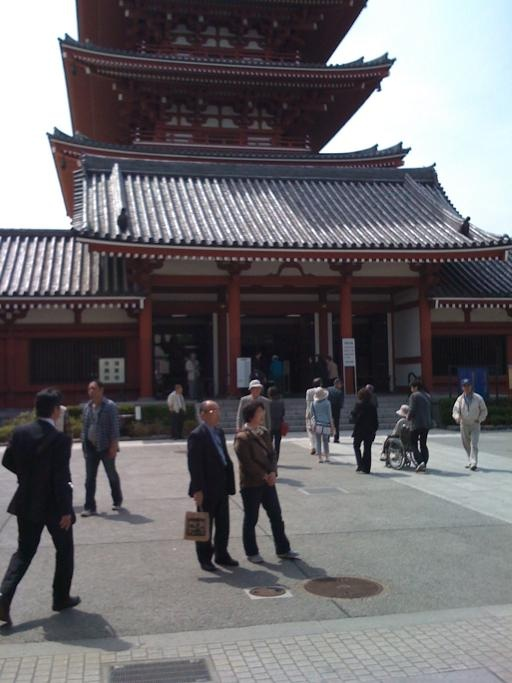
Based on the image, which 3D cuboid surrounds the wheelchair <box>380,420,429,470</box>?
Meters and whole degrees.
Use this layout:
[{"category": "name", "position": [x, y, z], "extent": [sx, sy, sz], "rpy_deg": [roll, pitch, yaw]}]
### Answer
[{"category": "wheelchair", "position": [2.630, 1.844, 12.279], "extent": [0.662, 0.825, 0.683], "rpy_deg": [0, 1, 23]}]
